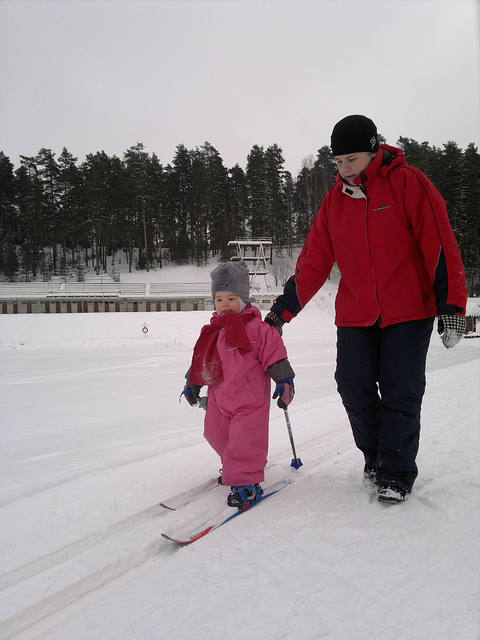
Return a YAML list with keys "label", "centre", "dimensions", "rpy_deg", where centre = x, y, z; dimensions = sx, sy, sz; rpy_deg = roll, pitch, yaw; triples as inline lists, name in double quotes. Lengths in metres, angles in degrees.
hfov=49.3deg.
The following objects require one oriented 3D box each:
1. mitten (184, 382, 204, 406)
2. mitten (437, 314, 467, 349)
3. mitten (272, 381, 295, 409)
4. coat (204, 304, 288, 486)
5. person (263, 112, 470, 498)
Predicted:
- label: "mitten"
  centre: [-0.255, 0.414, 2.907]
  dimensions: [0.089, 0.132, 0.097]
  rpy_deg: [-12, -22, -6]
- label: "mitten"
  centre: [0.935, 0.050, 2.304]
  dimensions: [0.117, 0.157, 0.245]
  rpy_deg: [-5, -1, 21]
- label: "mitten"
  centre: [0.241, 0.387, 2.663]
  dimensions: [0.057, 0.138, 0.098]
  rpy_deg: [27, 4, -27]
- label: "coat"
  centre: [-0.009, 0.391, 2.754]
  dimensions: [0.499, 1.015, 0.336]
  rpy_deg: [5, 6, 33]
- label: "person"
  centre: [0.624, -0.084, 2.546]
  dimensions: [0.475, 1.770, 0.914]
  rpy_deg: [-3, -1, -34]
